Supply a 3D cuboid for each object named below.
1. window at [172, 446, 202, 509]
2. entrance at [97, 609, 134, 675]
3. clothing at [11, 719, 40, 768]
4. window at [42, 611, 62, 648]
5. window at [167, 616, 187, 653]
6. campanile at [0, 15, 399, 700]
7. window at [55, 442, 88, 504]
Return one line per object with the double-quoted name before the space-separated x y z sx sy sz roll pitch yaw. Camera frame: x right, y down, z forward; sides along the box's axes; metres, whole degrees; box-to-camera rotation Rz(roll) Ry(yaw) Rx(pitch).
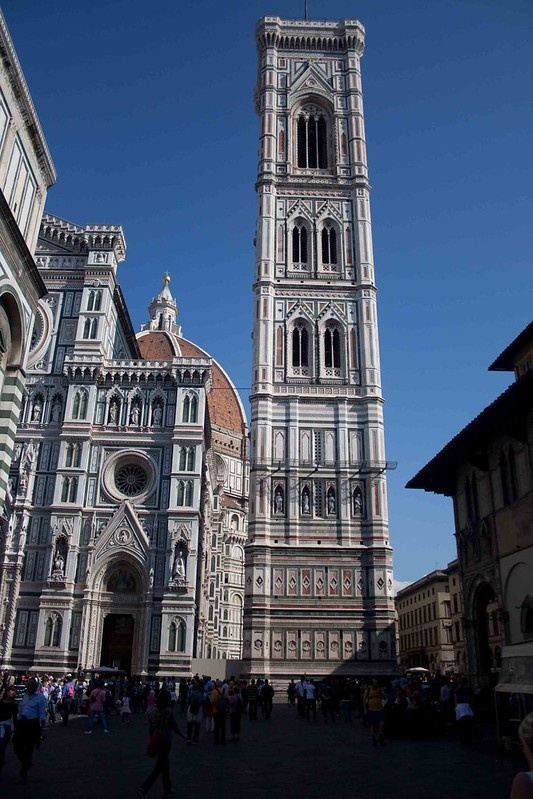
"window" -4.614 4.284 37.021 1.046 3.507 0.285 4 -23 -9
"entrance" -8.056 13.084 34.942 1.730 2.939 0.782 0 -22 -1
"clothing" -3.307 4.724 8.872 0.325 0.666 0.643 5 -23 -12
"window" -11.064 11.893 33.561 0.870 1.629 0.368 4 -23 -10
"window" -4.669 12.249 33.763 0.912 1.560 0.242 4 -23 -9
"campanile" -4.005 -7.213 41.839 22.457 46.916 3.351 0 -22 1
"window" -11.082 4.046 36.778 0.951 3.540 0.264 2 -22 -5
